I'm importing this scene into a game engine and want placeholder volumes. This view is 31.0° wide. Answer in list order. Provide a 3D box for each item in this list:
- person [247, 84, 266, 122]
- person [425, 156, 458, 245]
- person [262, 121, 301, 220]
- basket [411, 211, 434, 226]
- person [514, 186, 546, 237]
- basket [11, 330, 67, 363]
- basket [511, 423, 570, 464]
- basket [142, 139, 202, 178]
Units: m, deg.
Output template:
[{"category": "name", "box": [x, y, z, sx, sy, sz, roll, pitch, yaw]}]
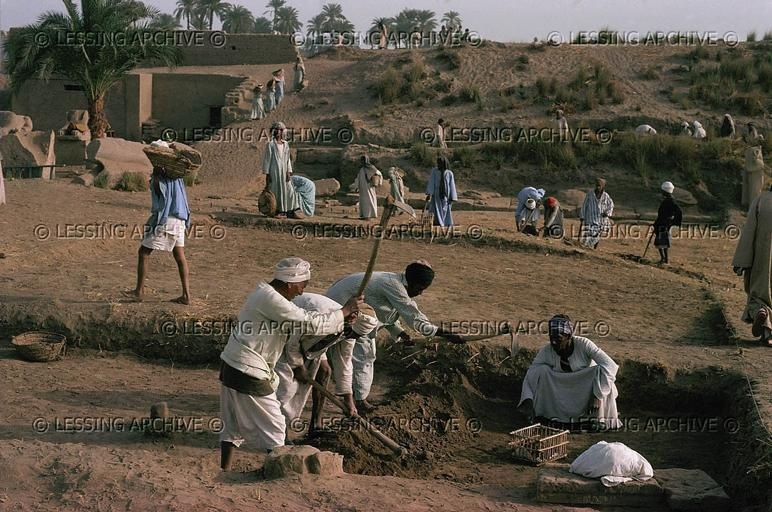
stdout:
[{"category": "person", "box": [-4.531, -5.420, 49.389, 0.530, 1.262, 1.649, 4, 6, -5]}, {"category": "person", "box": [1.449, -1.504, 36.654, 0.796, 2.110, 1.208, 5, 7, 2]}, {"category": "person", "box": [-2.665, -2.174, 36.027, 0.943, 2.473, 1.150, 4, 7, -3]}, {"category": "basket", "box": [0.985, -0.953, 37.211, 0.653, 0.341, 0.602, 0, 4, 16]}, {"category": "person", "box": [3.827, -1.168, 37.294, 0.650, 1.245, 0.716, 1, 7, -28]}, {"category": "basket", "box": [-7.544, 2.000, 30.317, 0.962, 0.361, 0.722, 3, 13, 0]}, {"category": "basket", "box": [3.241, 4.065, 29.514, 0.805, 0.484, 1.182, 2, 2, 37]}, {"category": "basket", "box": [-4.681, -2.127, 31.047, 1.015, 0.805, 1.405, 5, 6, 11]}]
